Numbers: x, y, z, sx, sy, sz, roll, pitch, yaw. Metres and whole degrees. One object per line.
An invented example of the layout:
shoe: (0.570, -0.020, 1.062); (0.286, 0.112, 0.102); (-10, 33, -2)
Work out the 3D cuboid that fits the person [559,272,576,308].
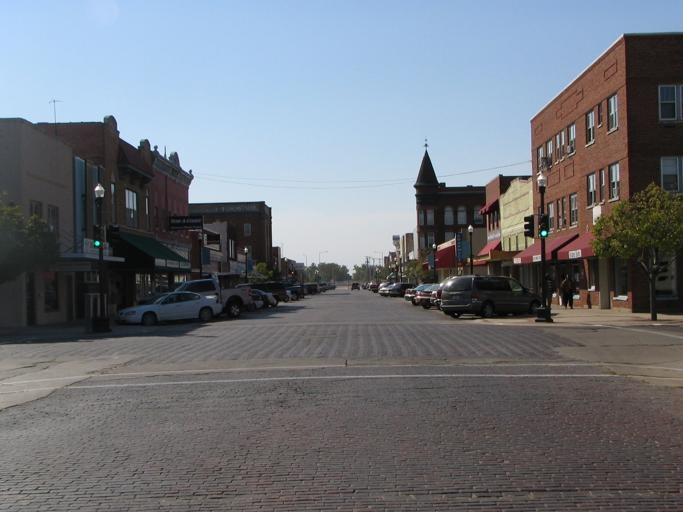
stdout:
person: (12.666, 1.925, 38.712); (0.765, 2.135, 0.646); (-16, 22, -16)
